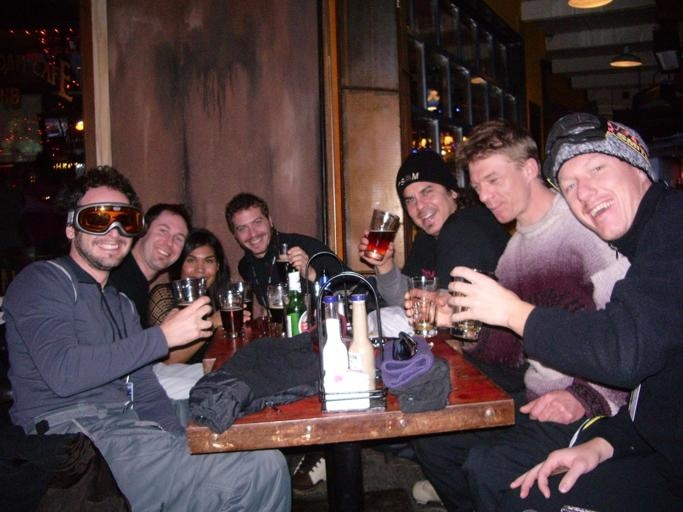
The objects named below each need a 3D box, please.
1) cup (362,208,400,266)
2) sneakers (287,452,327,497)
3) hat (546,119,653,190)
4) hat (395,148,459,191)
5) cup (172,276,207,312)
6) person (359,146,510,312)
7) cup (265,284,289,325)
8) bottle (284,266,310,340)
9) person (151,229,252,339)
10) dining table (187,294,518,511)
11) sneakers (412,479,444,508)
[{"bbox_3d":[0.246,-0.125,3.213,0.210,0.296,0.197,-7,8,1],"label":"cup"},{"bbox_3d":[-0.211,1.423,3.637,0.186,0.172,0.416,14,13,19],"label":"sneakers"},{"bbox_3d":[1.131,-0.512,2.418,0.316,0.239,0.439,-16,-18,21],"label":"hat"},{"bbox_3d":[0.632,-0.606,3.928,0.347,0.275,0.328,5,-6,-10],"label":"hat"},{"bbox_3d":[-0.844,0.198,2.993,0.188,0.159,0.163,4,-3,-18],"label":"cup"},{"bbox_3d":[0.704,-0.081,3.759,1.112,1.188,0.937,-12,-18,39],"label":"person"},{"bbox_3d":[-0.372,0.322,3.401,0.151,0.240,0.149,-3,-4,0],"label":"cup"},{"bbox_3d":[-0.260,0.280,2.997,0.132,0.518,0.128,1,31,-1],"label":"bottle"},{"bbox_3d":[-1.024,0.240,3.943,0.817,0.931,0.642,3,1,-17],"label":"person"},{"bbox_3d":[0.054,0.612,2.603,0.913,0.876,0.904,-4,12,-9],"label":"dining table"},{"bbox_3d":[0.531,1.504,3.441,0.171,0.092,0.230,5,-1,-7],"label":"sneakers"}]
